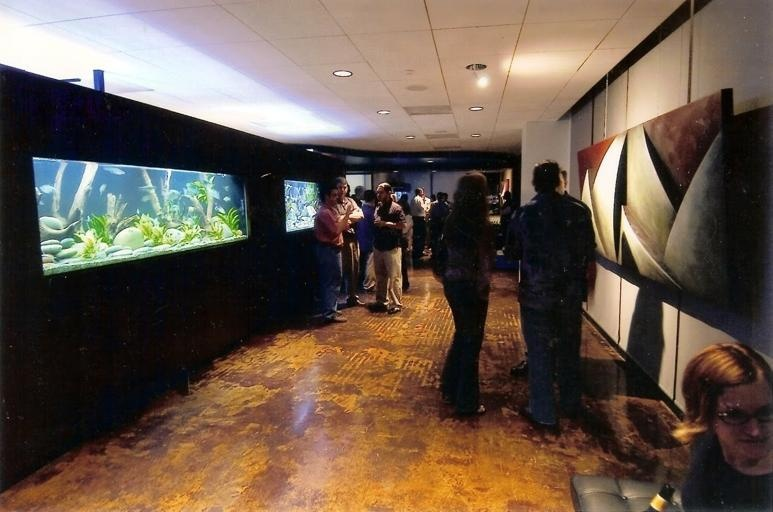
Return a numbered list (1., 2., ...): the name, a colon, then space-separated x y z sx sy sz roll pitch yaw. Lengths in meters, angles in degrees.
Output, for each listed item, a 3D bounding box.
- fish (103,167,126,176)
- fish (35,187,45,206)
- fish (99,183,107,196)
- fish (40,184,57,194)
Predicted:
1. fish: -2.396 -0.747 4.639 0.033 0.072 0.175 13 5 36
2. fish: -2.711 -0.471 4.113 0.030 0.147 0.085 0 7 3
3. fish: -2.449 -0.581 4.558 0.014 0.097 0.067 2 8 16
4. fish: -2.681 -0.532 4.165 0.068 0.056 0.151 5 2 -24
